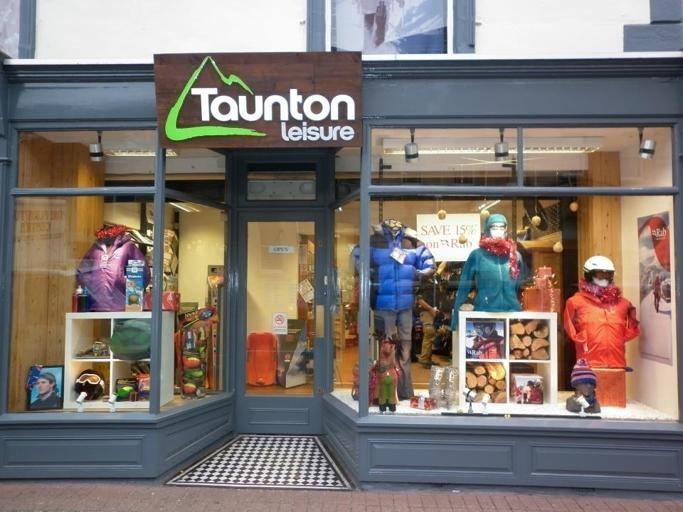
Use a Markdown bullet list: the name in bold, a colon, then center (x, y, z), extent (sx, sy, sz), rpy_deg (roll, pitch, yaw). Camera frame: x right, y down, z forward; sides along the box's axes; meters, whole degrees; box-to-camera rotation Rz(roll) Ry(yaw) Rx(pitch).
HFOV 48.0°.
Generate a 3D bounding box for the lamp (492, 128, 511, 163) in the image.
- **lamp**: center (1.639, -1.127, 7.811), extent (0.152, 0.335, 0.041), rpy_deg (3, 13, 10)

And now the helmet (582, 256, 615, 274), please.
- **helmet**: center (2.680, 0.093, 8.047), extent (0.189, 0.180, 0.223), rpy_deg (2, 0, -3)

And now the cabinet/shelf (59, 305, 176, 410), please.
- **cabinet/shelf**: center (-2.349, 1.077, 7.894), extent (0.983, 0.978, 0.347), rpy_deg (1, -5, -5)

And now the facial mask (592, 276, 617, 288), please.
- **facial mask**: center (2.723, 0.288, 7.945), extent (0.117, 0.089, 0.160), rpy_deg (-1, 7, 6)

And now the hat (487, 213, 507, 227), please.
- **hat**: center (1.600, -0.362, 7.868), extent (0.165, 0.131, 0.123), rpy_deg (0, 3, -10)

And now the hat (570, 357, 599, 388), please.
- **hat**: center (2.429, 1.193, 7.716), extent (0.210, 0.257, 0.287), rpy_deg (1, -5, 1)

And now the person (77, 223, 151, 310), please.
- **person**: center (-2.367, 0.139, 7.995), extent (0.819, 1.001, 0.388), rpy_deg (0, -8, 1)

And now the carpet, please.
- **carpet**: center (-0.772, 2.166, 7.923), extent (1.762, 0.083, 0.996), rpy_deg (1, 14, 3)

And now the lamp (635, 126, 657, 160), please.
- **lamp**: center (3.086, -1.125, 7.770), extent (0.180, 0.305, 0.295), rpy_deg (1, -1, -3)

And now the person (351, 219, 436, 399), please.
- **person**: center (0.623, 0.504, 7.894), extent (0.657, 1.676, 0.441), rpy_deg (1, 13, 4)

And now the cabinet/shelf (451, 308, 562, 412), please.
- **cabinet/shelf**: center (1.725, 1.103, 7.842), extent (0.972, 0.967, 0.326), rpy_deg (0, -1, 0)

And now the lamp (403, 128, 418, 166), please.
- **lamp**: center (0.718, -1.126, 7.824), extent (0.154, 0.340, 0.062), rpy_deg (-1, 12, -4)

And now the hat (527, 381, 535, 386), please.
- **hat**: center (1.932, 1.307, 7.834), extent (0.051, 0.053, 0.039), rpy_deg (-9, -14, 36)
